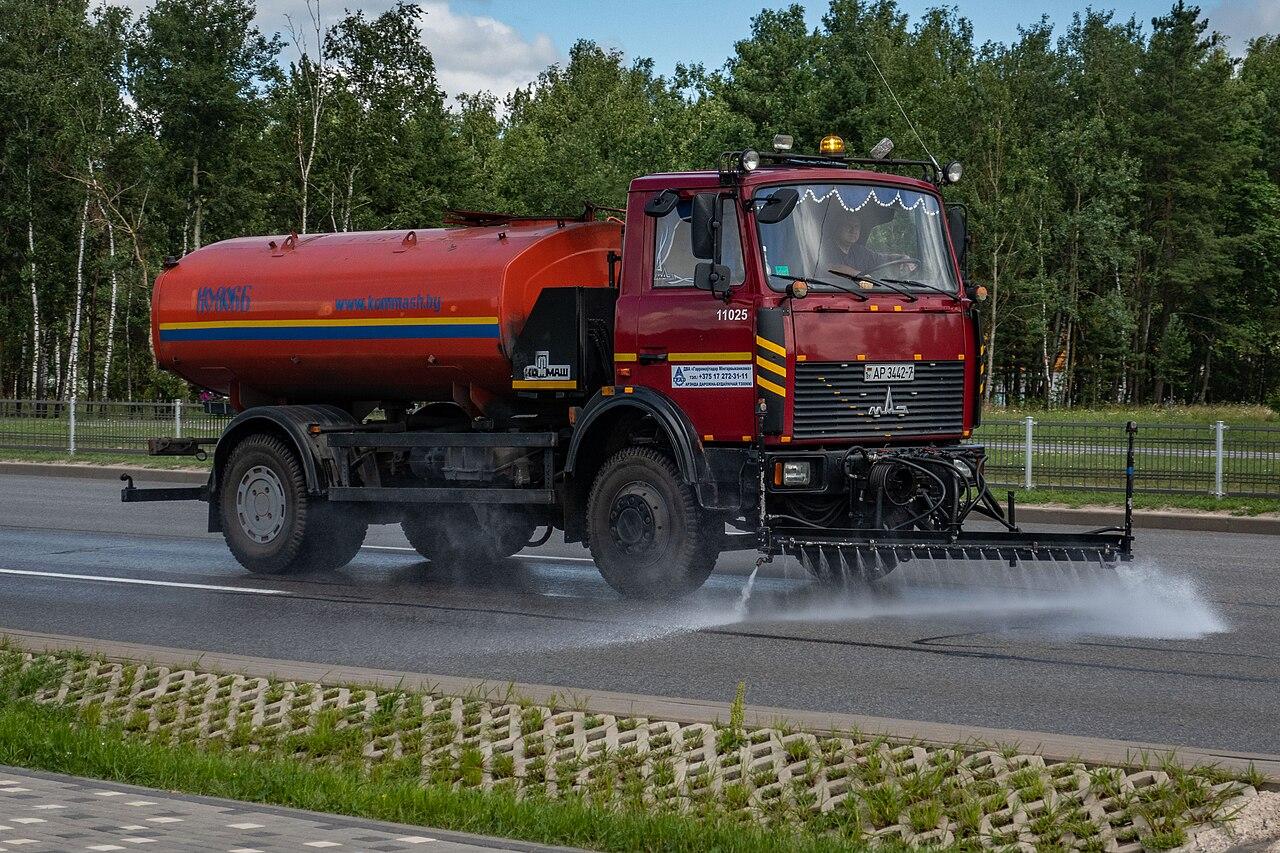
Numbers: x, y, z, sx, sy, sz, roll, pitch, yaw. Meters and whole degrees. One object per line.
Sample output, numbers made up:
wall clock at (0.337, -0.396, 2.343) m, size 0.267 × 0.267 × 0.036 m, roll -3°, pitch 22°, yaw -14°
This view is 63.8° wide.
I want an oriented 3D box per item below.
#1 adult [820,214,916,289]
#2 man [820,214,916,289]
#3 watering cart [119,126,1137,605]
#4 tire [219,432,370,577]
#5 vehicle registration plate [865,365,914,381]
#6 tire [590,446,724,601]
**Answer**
adult at (2.193, -1.830, 10.436) m, size 0.727 × 0.735 × 0.341 m, roll 0°, pitch -4°, yaw -20°
man at (2.190, -1.826, 10.435) m, size 0.727 × 0.735 × 0.341 m, roll 0°, pitch -4°, yaw -20°
watering cart at (-1.074, -0.648, 12.808) m, size 11.033 × 4.312 × 3.786 m, roll 2°, pitch 1°, yaw 25°
tire at (-4.654, 0.983, 13.274) m, size 1.623 × 1.712 × 0.825 m, roll 2°, pitch 0°, yaw 22°
vehicle registration plate at (2.516, -0.539, 10.343) m, size 0.631 × 0.203 × 0.020 m, roll 1°, pitch -1°, yaw -27°
tire at (0.180, 0.959, 10.507) m, size 1.515 × 1.663 × 0.660 m, roll 2°, pitch 2°, yaw 34°
